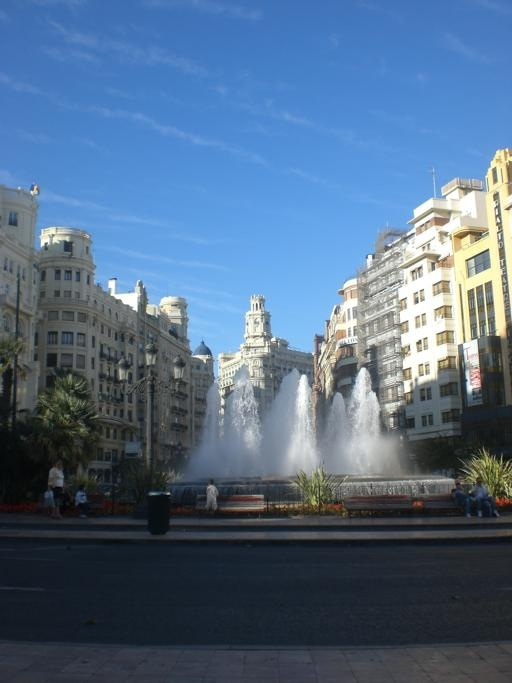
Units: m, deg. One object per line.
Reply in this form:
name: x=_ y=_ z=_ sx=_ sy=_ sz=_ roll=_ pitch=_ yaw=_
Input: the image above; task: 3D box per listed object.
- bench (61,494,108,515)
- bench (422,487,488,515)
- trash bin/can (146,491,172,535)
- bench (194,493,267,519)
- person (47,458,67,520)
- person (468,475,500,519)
bench: x=-6.024 y=5.889 z=24.227 sx=1.239 sy=0.596 sz=1.279 roll=-2 pitch=-14 yaw=5
bench: x=6.439 y=5.165 z=21.769 sx=1.471 sy=0.569 sz=1.090 roll=-3 pitch=-32 yaw=13
trash bin/can: x=-2.233 y=3.930 z=15.378 sx=0.454 sy=0.918 sz=0.731 roll=2 pitch=-10 yaw=-13
bench: x=-0.477 y=5.467 z=22.359 sx=1.512 sy=0.490 sz=0.952 roll=0 pitch=-3 yaw=3
person: x=-5.998 y=4.406 z=20.098 sx=0.429 sy=1.647 sz=1.836 roll=3 pitch=-11 yaw=-16
person: x=7.145 y=4.874 z=21.077 sx=0.740 sy=1.138 sz=1.175 roll=-2 pitch=-10 yaw=12
